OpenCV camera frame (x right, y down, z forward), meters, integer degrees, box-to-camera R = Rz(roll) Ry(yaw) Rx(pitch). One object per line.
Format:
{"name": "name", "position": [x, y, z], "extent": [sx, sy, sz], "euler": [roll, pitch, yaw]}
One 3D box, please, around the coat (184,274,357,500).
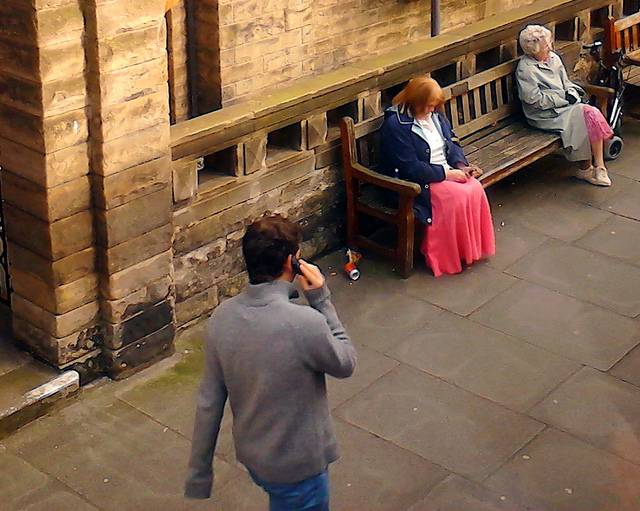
{"name": "coat", "position": [-0.263, 0.540, 3.004], "extent": [0.653, 0.870, 0.646], "euler": [0, 23, -15]}

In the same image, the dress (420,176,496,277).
{"name": "dress", "position": [1.216, -0.246, 6.136], "extent": [0.554, 0.695, 0.696], "euler": [14, 30, 38]}

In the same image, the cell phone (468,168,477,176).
{"name": "cell phone", "position": [1.390, -0.758, 6.280], "extent": [0.049, 0.021, 0.065], "euler": [25, 54, 32]}

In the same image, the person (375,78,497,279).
{"name": "person", "position": [1.090, -0.724, 6.173], "extent": [0.761, 1.670, 0.846], "euler": [-21, 30, -23]}

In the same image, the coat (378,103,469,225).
{"name": "coat", "position": [1.046, -0.877, 6.064], "extent": [0.964, 1.262, 0.478], "euler": [-17, 26, -42]}

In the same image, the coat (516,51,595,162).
{"name": "coat", "position": [2.556, -1.594, 7.483], "extent": [0.788, 1.121, 0.546], "euler": [2, 29, 19]}

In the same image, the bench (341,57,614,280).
{"name": "bench", "position": [1.082, -0.758, 6.242], "extent": [1.053, 1.660, 0.843], "euler": [17, 35, 35]}

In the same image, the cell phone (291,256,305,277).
{"name": "cell phone", "position": [-0.088, 0.051, 2.842], "extent": [0.023, 0.064, 0.050], "euler": [-45, 1, 5]}
